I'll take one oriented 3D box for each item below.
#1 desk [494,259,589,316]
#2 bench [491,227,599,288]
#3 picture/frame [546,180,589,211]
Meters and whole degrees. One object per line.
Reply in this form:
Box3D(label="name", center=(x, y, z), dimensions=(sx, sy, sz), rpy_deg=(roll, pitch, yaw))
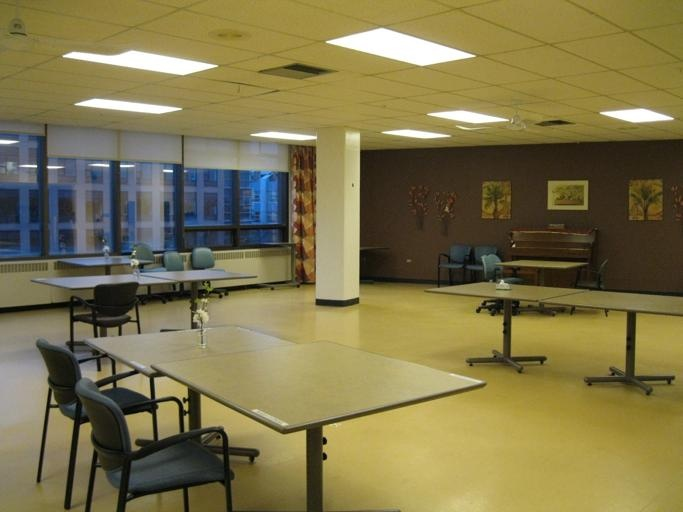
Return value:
Box3D(label="desk", center=(3.948, 0.743, 10.330), dimensions=(1.367, 1.002, 1.398), rpy_deg=(-7, 9, -41))
Box3D(label="bench", center=(4.350, 0.034, 11.124), dimensions=(1.389, 1.205, 0.680), rpy_deg=(0, -2, 36))
Box3D(label="picture/frame", center=(5.109, -1.369, 11.968), dimensions=(0.739, 0.581, 0.030), rpy_deg=(3, 1, 38))
